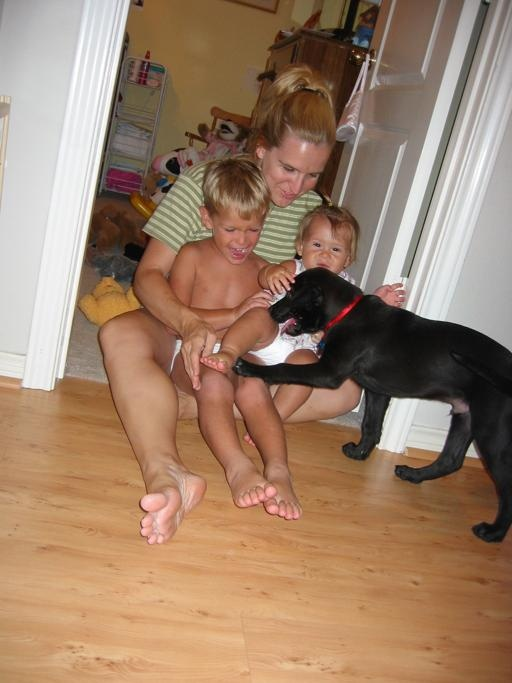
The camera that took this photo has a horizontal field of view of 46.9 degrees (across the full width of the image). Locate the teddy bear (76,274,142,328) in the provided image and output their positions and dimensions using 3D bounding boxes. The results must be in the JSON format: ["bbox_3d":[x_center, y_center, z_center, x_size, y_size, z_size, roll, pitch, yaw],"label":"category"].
[{"bbox_3d":[-0.472,-0.152,1.846,0.211,0.204,0.070,0,49,-12],"label":"teddy bear"}]
